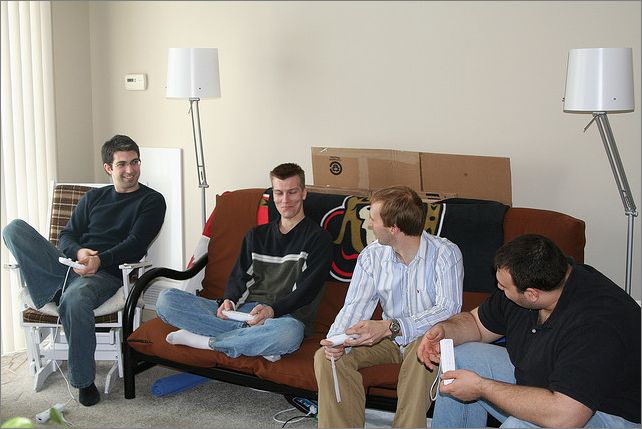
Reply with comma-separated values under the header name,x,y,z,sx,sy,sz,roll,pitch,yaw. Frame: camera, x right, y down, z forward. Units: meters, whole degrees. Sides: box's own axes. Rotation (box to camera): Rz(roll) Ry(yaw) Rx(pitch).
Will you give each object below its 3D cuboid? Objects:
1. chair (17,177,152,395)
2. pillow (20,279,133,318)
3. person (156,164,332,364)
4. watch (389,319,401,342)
name,x,y,z,sx,sy,sz,roll,pitch,yaw
chair,-1.909,0.561,3.617,0.906,1.427,0.976,-5,-9,-29
pillow,-1.649,0.553,3.275,0.745,0.173,0.231,1,12,5
person,-0.394,0.244,2.952,0.941,1.106,0.919,5,4,42
watch,0.365,0.574,2.526,0.053,0.090,0.085,-4,-12,-5
